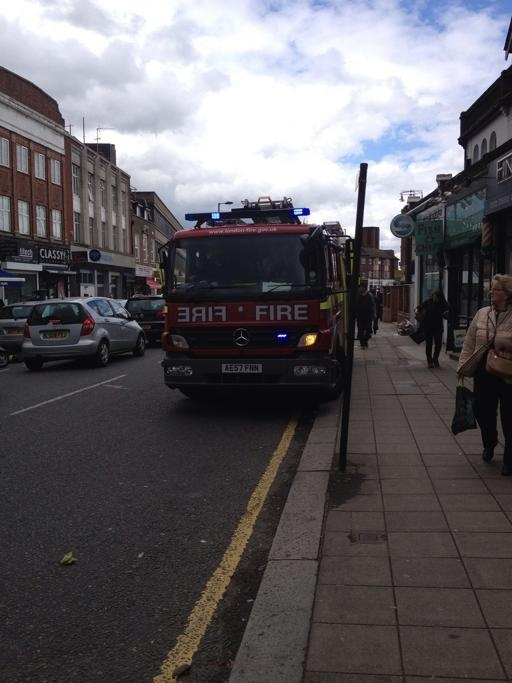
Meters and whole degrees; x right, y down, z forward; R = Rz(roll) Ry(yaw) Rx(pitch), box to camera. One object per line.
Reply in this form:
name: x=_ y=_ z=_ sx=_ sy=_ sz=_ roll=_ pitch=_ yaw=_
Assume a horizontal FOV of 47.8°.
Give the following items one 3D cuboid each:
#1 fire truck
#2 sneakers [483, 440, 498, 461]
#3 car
fire truck: x=-0.078 y=-0.149 z=11.075 sx=2.564 sy=3.273 sz=6.388 roll=-1 pitch=-11 yaw=0
sneakers: x=2.135 y=0.973 z=5.271 sx=0.107 sy=0.258 sz=0.082 roll=2 pitch=6 yaw=-20
car: x=-4.426 y=-0.261 z=15.320 sx=1.526 sy=1.840 sz=2.941 roll=-1 pitch=2 yaw=28
